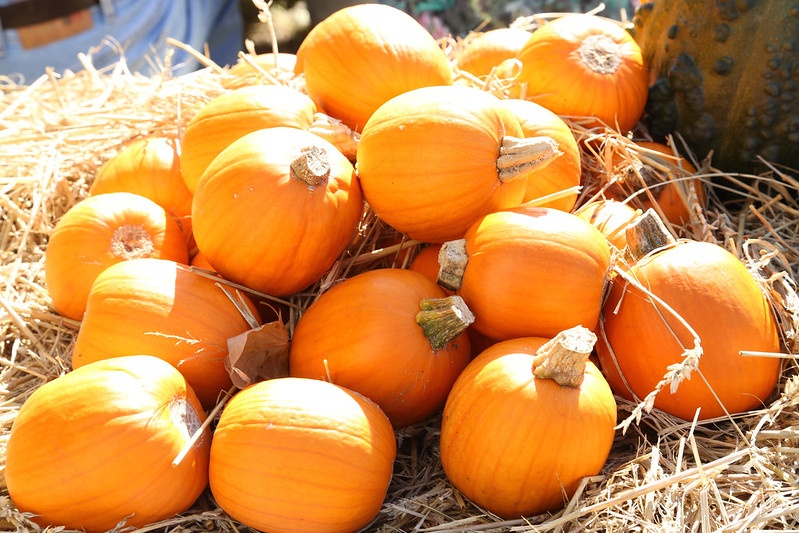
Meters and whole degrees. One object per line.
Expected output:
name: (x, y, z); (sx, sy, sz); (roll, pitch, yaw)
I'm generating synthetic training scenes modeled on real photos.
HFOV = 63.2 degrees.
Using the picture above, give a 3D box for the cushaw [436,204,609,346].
cushaw: (0.512, 0.033, 2.680); (0.656, 0.458, 0.407); (10, 36, 19)

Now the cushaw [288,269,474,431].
cushaw: (-0.003, 0.295, 2.944); (0.784, 0.636, 0.670); (-22, -2, 11)
